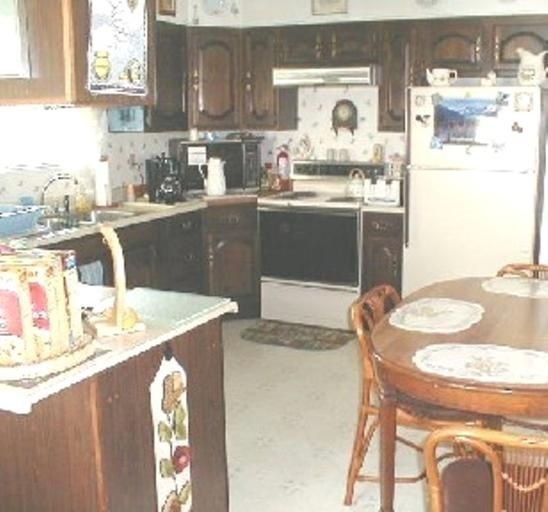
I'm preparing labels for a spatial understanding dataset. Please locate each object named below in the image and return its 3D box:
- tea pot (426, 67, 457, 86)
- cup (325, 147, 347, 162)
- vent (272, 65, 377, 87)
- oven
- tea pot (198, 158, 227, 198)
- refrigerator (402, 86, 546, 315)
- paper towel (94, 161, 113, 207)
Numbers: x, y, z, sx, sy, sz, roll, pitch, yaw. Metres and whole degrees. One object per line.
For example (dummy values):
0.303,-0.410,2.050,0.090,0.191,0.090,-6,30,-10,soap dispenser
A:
1.202,-1.269,3.997,0.200,0.131,0.155,9,16,21,tea pot
0.548,-0.895,4.852,0.151,0.112,0.096,4,8,18,cup
0.360,-1.387,4.280,0.797,0.139,0.143,3,11,14,vent
0.234,0.251,4.693,0.879,1.165,0.773,5,-29,-5,oven
-0.496,-0.662,4.595,0.217,0.301,0.369,-3,11,-15,tea pot
1.563,-0.632,4.966,1.135,2.483,1.143,4,7,18,refrigerator
-1.219,-0.523,3.942,0.094,0.328,0.086,3,0,-6,paper towel
